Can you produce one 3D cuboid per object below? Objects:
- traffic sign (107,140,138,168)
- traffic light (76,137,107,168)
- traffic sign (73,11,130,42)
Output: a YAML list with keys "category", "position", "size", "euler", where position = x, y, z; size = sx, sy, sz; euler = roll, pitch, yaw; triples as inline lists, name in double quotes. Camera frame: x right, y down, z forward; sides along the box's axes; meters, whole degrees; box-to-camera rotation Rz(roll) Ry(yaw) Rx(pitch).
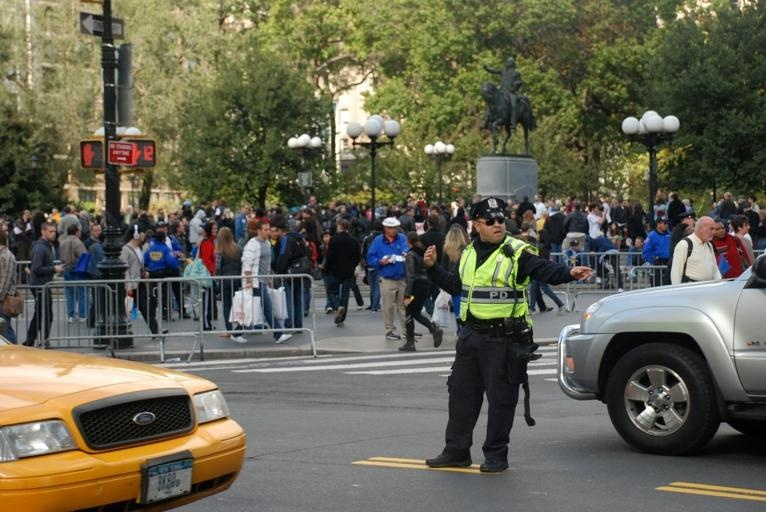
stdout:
- category: "traffic sign"
  position: [-6.325, -2.468, 32.983]
  size: [0.667, 0.539, 0.112]
  euler: [-4, 8, -41]
- category: "traffic light"
  position: [-7.068, -2.450, 33.155]
  size: [0.555, 0.678, 0.295]
  euler: [-1, 3, -3]
- category: "traffic sign"
  position: [-6.854, -5.644, 33.361]
  size: [0.960, 0.748, 1.556]
  euler: [-1, 3, -8]
